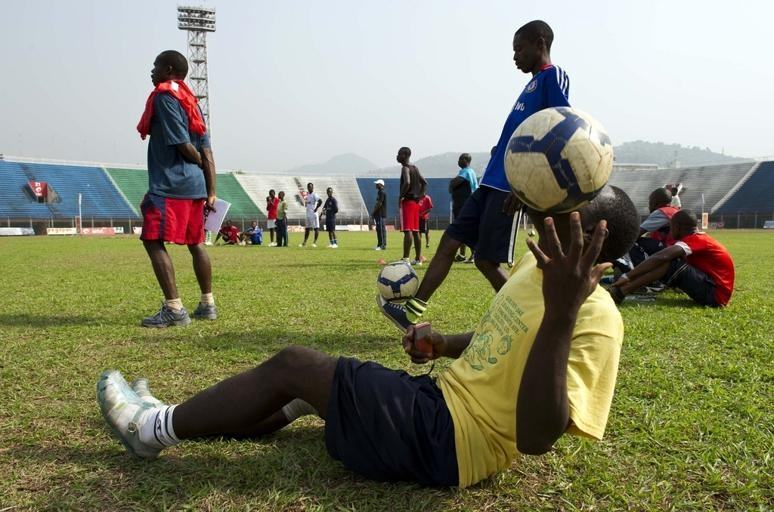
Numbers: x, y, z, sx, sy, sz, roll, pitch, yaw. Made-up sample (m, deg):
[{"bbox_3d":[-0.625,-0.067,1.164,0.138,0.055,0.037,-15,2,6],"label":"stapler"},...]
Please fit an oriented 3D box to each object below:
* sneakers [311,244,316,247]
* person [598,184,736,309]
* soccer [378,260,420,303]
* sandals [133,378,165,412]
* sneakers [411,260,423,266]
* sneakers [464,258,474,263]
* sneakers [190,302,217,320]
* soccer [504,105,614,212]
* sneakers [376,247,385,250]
[{"bbox_3d":[-2.188,-0.317,18.057,0.091,0.060,0.155,-2,-5,23],"label":"sneakers"},{"bbox_3d":[3.272,0.036,6.530,1.434,0.987,0.959,-7,-22,44],"label":"person"},{"bbox_3d":[0.101,0.209,4.791,0.327,0.300,0.313,1,-3,1],"label":"soccer"},{"bbox_3d":[-1.428,0.835,3.563,0.085,0.112,0.263,-12,34,-43],"label":"sandals"},{"bbox_3d":[0.559,0.132,11.052,0.083,0.079,0.184,-4,9,-39],"label":"sneakers"},{"bbox_3d":[1.546,0.078,11.218,0.188,0.101,0.254,0,4,20],"label":"sneakers"},{"bbox_3d":[-1.780,0.534,5.814,0.125,0.117,0.306,3,-1,-32],"label":"sneakers"},{"bbox_3d":[0.868,-0.485,3.045,0.606,0.570,0.579,2,3,-9],"label":"soccer"},{"bbox_3d":[-0.183,-0.195,15.626,0.241,0.094,0.079,4,1,10],"label":"sneakers"}]
